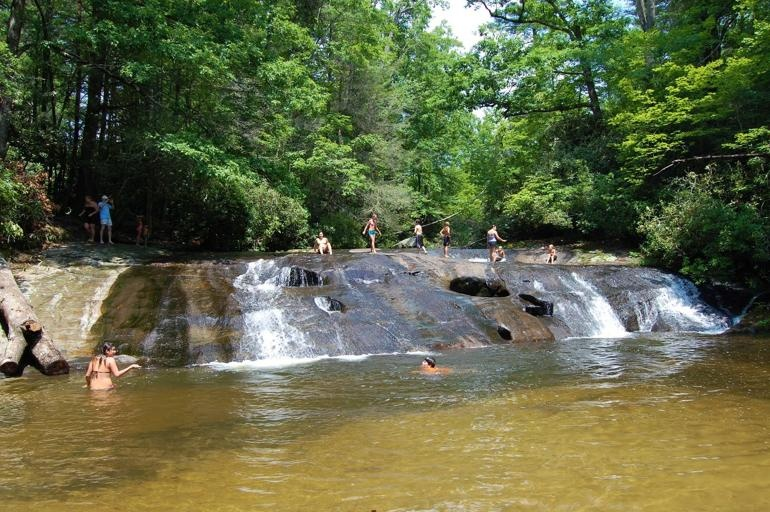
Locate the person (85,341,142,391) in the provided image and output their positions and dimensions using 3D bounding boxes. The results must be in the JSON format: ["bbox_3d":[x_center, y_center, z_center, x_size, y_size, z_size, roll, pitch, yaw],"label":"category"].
[{"bbox_3d":[-6.549,2.588,13.188,0.685,0.956,1.205,-6,-2,20],"label":"person"}]

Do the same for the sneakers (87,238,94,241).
[{"bbox_3d":[-12.427,-0.711,23.249,0.214,0.060,0.230,3,-15,36],"label":"sneakers"}]

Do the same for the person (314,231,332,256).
[{"bbox_3d":[-2.769,-0.573,24.185,0.614,0.962,1.933,-5,-1,-8],"label":"person"}]
